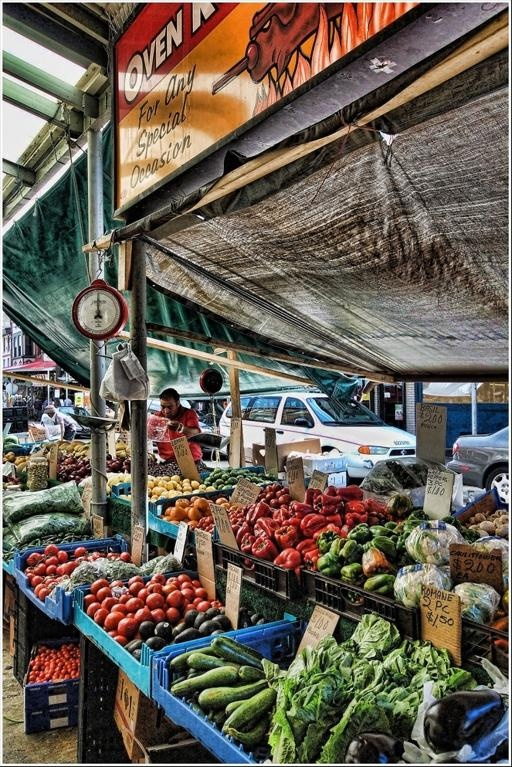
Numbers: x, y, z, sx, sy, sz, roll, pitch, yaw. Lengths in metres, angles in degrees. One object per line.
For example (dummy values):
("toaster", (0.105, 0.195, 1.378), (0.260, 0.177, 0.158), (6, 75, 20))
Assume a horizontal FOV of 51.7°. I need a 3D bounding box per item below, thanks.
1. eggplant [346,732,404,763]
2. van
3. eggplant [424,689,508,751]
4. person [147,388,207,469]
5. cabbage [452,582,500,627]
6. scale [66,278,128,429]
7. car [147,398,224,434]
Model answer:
("eggplant", (0.329, 0.982, 1.447), (0.107, 0.049, 0.081), (-1, 9, -21))
("van", (1.438, 1.093, 10.740), (1.895, 1.666, 4.080), (-1, 2, -40))
("eggplant", (0.598, 0.955, 1.494), (0.247, 0.117, 0.114), (1, -6, -13))
("person", (-0.966, 0.459, 6.027), (0.569, 1.016, 0.566), (5, 3, 28))
("cabbage", (0.747, 0.763, 1.820), (0.147, 0.114, 0.203), (-3, -6, 22))
("scale", (-1.316, -0.642, 4.490), (0.427, 0.518, 0.180), (1, -6, -16))
("car", (-2.050, 1.083, 17.483), (2.496, 1.424, 1.447), (-6, 3, 4))
